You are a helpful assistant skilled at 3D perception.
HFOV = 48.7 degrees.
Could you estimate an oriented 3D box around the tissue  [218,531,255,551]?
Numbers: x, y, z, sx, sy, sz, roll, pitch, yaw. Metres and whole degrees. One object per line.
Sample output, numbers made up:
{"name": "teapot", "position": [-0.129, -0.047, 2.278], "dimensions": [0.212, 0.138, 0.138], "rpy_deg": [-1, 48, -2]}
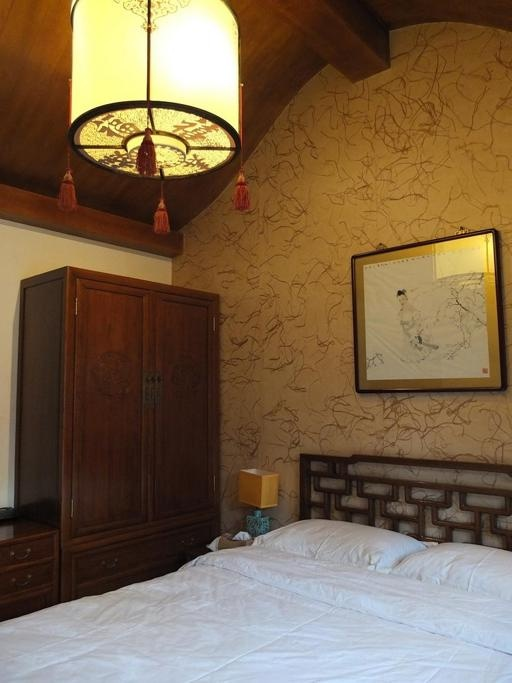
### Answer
{"name": "tissue ", "position": [-0.097, 1.010, 2.855], "dimensions": [0.166, 0.085, 0.127], "rpy_deg": [4, -10, -26]}

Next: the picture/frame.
{"name": "picture/frame", "position": [0.836, -0.143, 2.658], "dimensions": [0.792, 0.774, 0.057], "rpy_deg": [-8, -11, 43]}
